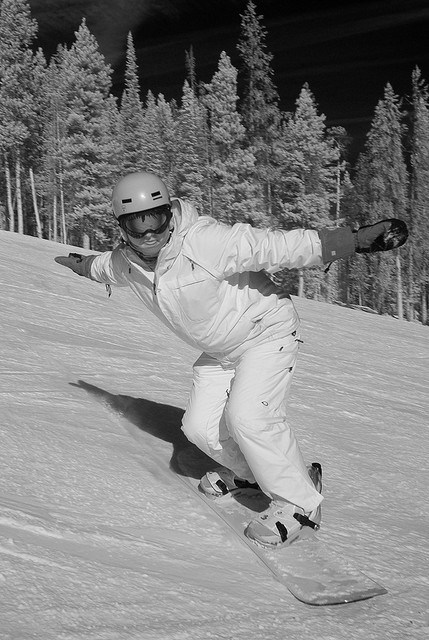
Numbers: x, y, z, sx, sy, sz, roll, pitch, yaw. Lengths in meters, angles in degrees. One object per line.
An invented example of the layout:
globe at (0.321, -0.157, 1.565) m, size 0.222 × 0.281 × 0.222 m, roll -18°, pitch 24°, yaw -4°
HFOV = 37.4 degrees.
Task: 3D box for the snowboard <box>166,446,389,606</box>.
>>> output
snowboard at (0.204, 0.966, 3.095) m, size 0.361 × 0.102 × 1.388 m, roll 0°, pitch 10°, yaw -27°

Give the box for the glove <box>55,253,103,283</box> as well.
glove at (-0.846, -0.358, 4.022) m, size 0.245 × 0.059 × 0.250 m, roll -12°, pitch 26°, yaw -41°

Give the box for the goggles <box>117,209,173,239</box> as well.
goggles at (-0.310, -0.434, 2.879) m, size 0.233 × 0.134 × 0.110 m, roll 0°, pitch 3°, yaw -7°

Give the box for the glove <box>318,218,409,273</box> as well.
glove at (0.611, -0.340, 2.763) m, size 0.443 × 0.127 × 0.098 m, roll -16°, pitch 3°, yaw -4°
